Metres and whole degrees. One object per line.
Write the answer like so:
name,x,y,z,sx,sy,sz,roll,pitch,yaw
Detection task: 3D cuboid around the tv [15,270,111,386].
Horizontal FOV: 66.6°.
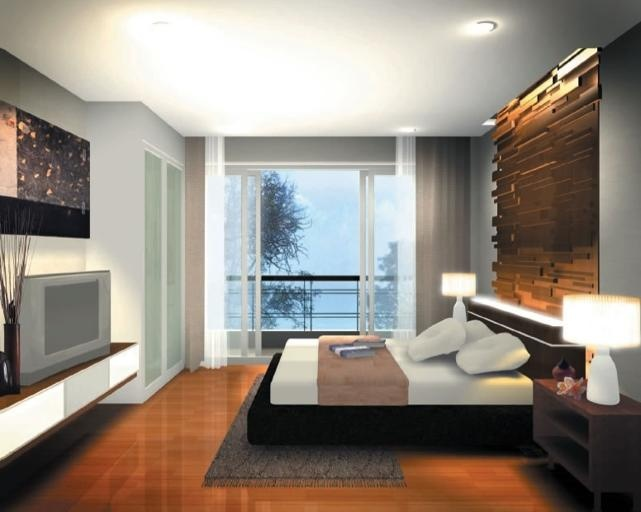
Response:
tv,-1.954,0.515,3.819,0.512,0.842,1.073,0,0,3

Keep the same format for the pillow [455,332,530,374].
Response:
pillow,1.353,0.774,3.864,0.362,0.156,0.356,-10,3,-1

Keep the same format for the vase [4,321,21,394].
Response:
vase,-2.109,0.691,3.345,0.091,0.435,0.244,-3,6,-33
